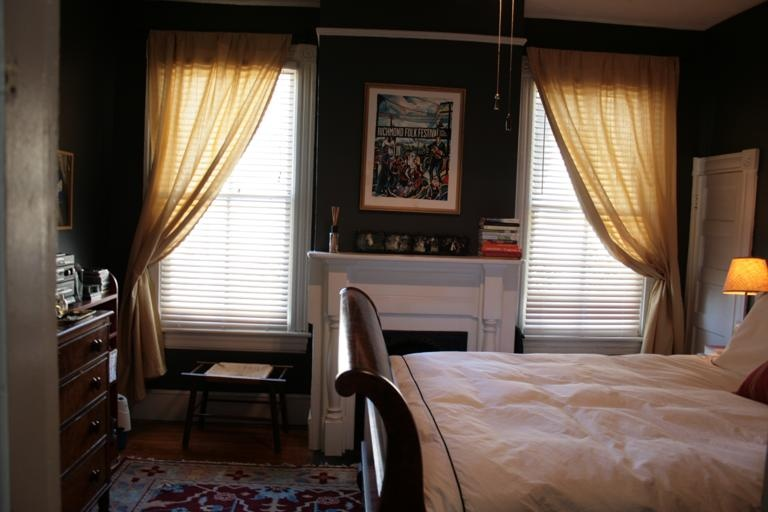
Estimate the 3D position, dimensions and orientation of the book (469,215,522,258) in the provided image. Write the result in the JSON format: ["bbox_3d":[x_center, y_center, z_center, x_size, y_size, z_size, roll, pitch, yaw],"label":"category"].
[{"bbox_3d":[0.869,-0.140,4.516,0.295,0.274,0.205,3,12,3],"label":"book"}]

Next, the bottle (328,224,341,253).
[{"bbox_3d":[-0.369,-0.125,4.497,0.086,0.206,0.250,1,13,-5],"label":"bottle"}]

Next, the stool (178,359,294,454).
[{"bbox_3d":[-1.147,1.320,4.724,0.879,0.642,0.612,1,-1,1],"label":"stool"}]
